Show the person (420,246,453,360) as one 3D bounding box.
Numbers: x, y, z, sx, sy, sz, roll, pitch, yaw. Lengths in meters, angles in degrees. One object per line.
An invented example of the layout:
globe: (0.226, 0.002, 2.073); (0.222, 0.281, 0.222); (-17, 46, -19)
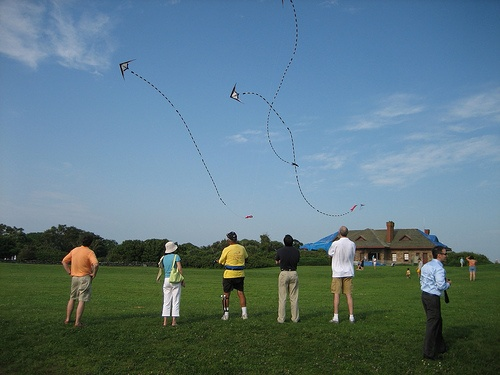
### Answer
person: (5.307, 3.233, 11.094); (0.811, 3.100, 1.153); (-5, -14, 26)

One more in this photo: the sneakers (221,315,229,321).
sneakers: (-0.935, 4.821, 14.362); (0.274, 0.211, 0.410); (2, -13, -2)

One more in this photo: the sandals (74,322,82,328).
sandals: (-5.756, 4.589, 12.947); (0.101, 0.224, 0.210); (3, 0, 28)

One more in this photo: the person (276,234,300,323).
person: (1.392, 3.374, 14.205); (0.867, 3.072, 1.132); (0, -13, 5)

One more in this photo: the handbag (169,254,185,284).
handbag: (-2.590, 2.920, 13.737); (0.494, 0.984, 0.317); (8, -15, -27)
